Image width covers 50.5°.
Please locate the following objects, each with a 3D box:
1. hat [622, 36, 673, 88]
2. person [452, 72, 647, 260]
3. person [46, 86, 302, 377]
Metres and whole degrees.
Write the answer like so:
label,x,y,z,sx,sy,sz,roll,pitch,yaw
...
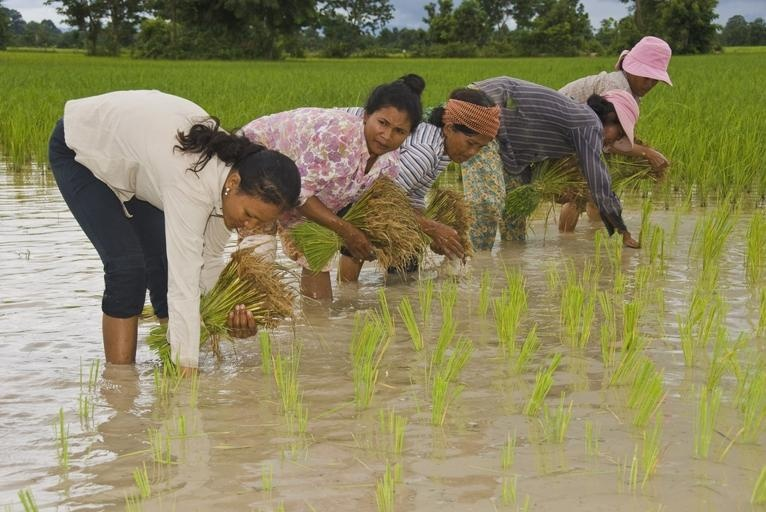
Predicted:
label,x,y,z,sx,sy,sz,roll,pitch,yaw
hat,2.262,-1.729,7.087,0.456,0.259,0.478,6,23,-32
person,1.373,-0.781,6.873,1.948,1.066,0.807,1,4,9
person,-1.164,-0.112,4.392,1.429,1.540,0.398,7,11,27
